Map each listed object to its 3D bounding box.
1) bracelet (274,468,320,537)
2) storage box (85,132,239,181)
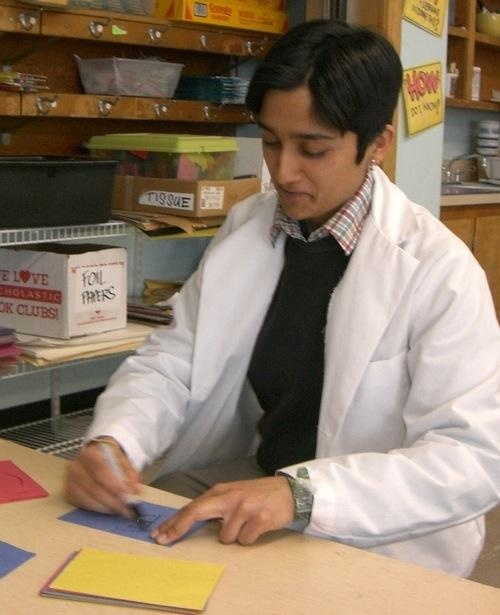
[{"bbox_3d":[0.073,0.275,0.755,0.053,0.078,0.065,11,-17,-15],"label":"bracelet"},{"bbox_3d":[-0.357,-0.573,2.078,0.417,0.119,0.281,11,19,31],"label":"storage box"}]
